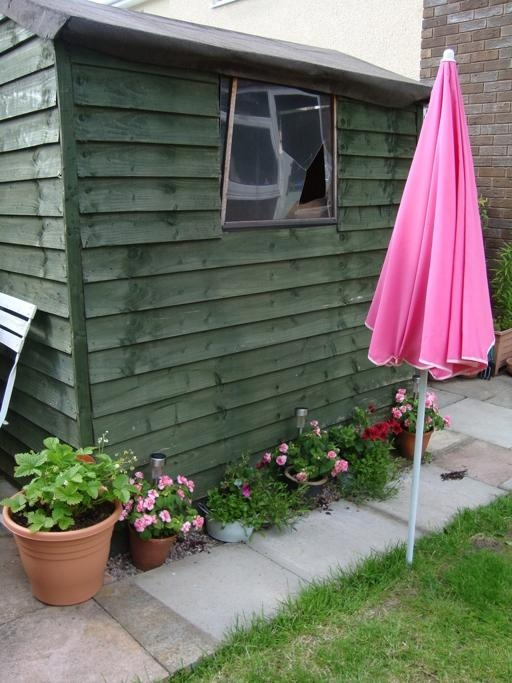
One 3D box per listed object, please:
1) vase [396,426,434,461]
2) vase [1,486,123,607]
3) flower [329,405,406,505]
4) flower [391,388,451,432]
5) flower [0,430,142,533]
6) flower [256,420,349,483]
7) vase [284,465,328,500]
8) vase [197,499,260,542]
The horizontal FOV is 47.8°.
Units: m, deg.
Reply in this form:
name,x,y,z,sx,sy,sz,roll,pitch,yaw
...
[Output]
name,x,y,z,sx,sy,sz,roll,pitch,yaw
vase,1.065,0.692,3.943,0.283,0.178,0.251,-5,17,-16
vase,-0.727,0.814,2.340,0.516,0.309,0.466,-2,8,-17
flower,0.706,0.705,3.736,0.523,0.606,0.599,-8,-5,35
flower,1.121,0.479,4.060,0.435,0.230,0.355,3,13,-6
flower,-0.755,0.603,2.334,0.463,0.215,0.402,-3,53,-27
flower,0.259,0.684,3.384,0.426,0.320,0.333,2,51,-17
vase,0.286,0.813,3.242,0.219,0.109,0.196,2,9,-10
vase,-0.155,0.911,2.944,0.239,0.115,0.183,0,6,10
